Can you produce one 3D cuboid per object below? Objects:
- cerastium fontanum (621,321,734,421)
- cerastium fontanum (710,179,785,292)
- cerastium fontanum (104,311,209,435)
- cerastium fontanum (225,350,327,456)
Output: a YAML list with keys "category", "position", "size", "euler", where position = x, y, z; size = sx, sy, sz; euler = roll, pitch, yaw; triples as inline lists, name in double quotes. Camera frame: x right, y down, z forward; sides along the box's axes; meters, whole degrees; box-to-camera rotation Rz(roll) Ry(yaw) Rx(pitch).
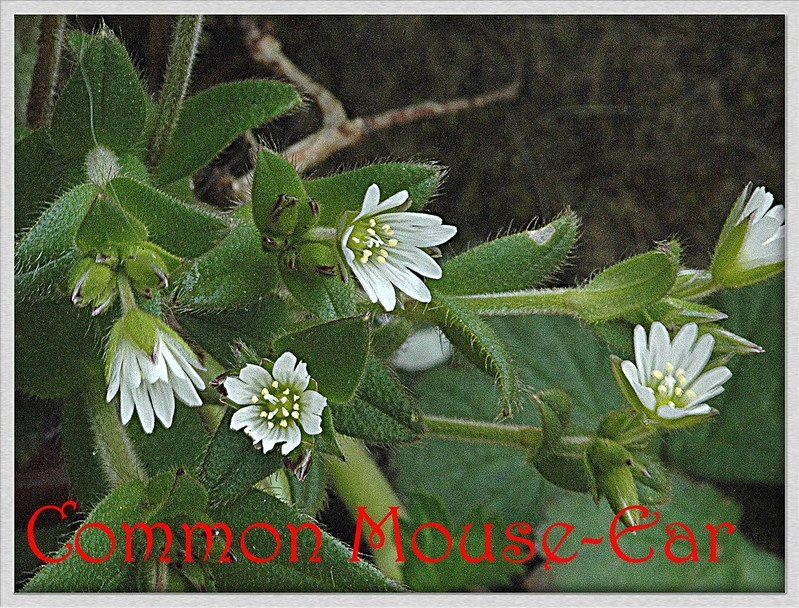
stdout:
- category: "cerastium fontanum"
  position: [0.505, 0.132, 1.503]
  size: [0.184, 0.195, 0.090]
  euler: [26, -6, 8]
- category: "cerastium fontanum"
  position: [0.676, -0.129, 1.531]
  size: [0.085, 0.195, 0.176]
  euler: [2, 13, 13]
- category: "cerastium fontanum"
  position: [-0.457, 0.141, 1.361]
  size: [0.173, 0.215, 0.092]
  euler: [-2, 56, -24]
- category: "cerastium fontanum"
  position: [-0.216, 0.163, 1.470]
  size: [0.181, 0.176, 0.076]
  euler: [52, 9, 1]
